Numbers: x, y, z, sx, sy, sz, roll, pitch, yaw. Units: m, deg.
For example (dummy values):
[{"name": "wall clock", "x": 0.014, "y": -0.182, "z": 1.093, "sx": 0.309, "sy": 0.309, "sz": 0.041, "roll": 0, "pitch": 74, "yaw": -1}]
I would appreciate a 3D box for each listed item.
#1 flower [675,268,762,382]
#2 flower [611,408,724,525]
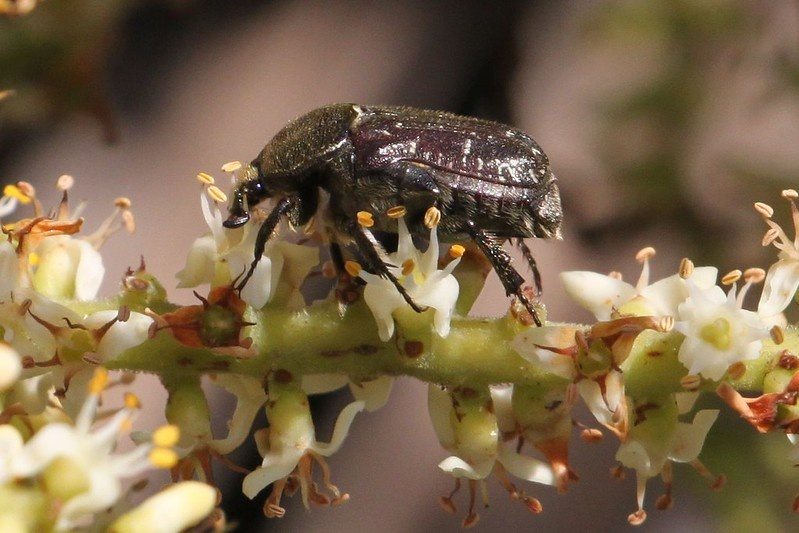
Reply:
[{"name": "flower", "x": 0.696, "y": 0.137, "z": 2.157, "sx": 0.192, "sy": 0.213, "sz": 0.116, "roll": -3, "pitch": -14, "yaw": 9}, {"name": "flower", "x": 0.611, "y": 0.447, "z": 2.240, "sx": 0.221, "sy": 0.251, "sz": 0.222, "roll": -5, "pitch": -14, "yaw": 17}]
